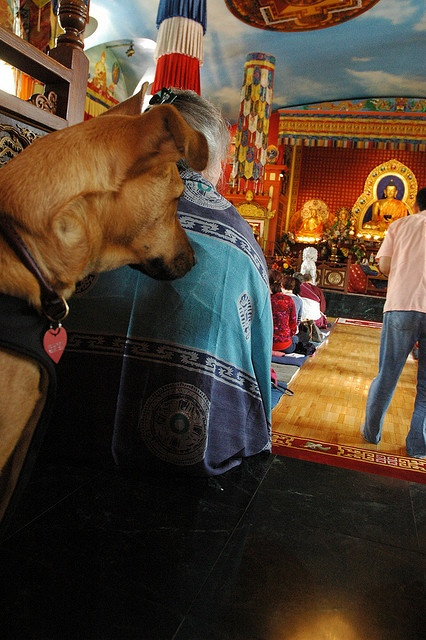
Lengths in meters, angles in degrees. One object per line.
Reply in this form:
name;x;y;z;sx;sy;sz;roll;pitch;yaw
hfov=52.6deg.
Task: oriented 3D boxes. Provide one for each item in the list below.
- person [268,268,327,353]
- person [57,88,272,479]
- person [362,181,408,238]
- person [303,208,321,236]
person;0.931;-0.030;4.299;0.556;0.893;0.926;2;12;23
person;-0.172;-0.184;1.619;0.776;1.209;0.675;15;2;1
person;4.828;-3.006;11.902;1.318;1.382;0.921;0;24;-1
person;2.858;-2.701;12.183;0.540;0.758;0.506;8;3;11
